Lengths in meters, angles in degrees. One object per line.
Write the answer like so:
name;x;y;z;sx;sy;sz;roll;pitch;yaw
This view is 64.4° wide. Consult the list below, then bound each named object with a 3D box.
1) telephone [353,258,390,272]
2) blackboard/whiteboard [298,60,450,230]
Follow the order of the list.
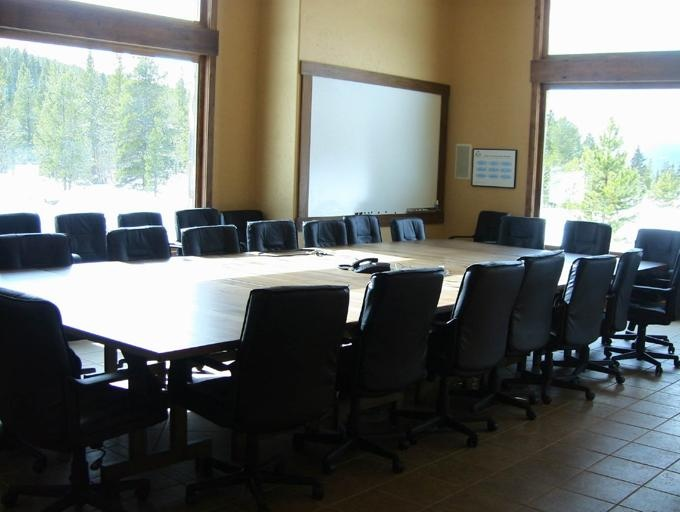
telephone;0.270;0.087;4.623;0.226;0.075;0.155;4;-4;-40
blackboard/whiteboard;0.585;-1.650;8.366;2.977;2.243;0.101;-7;16;-37
